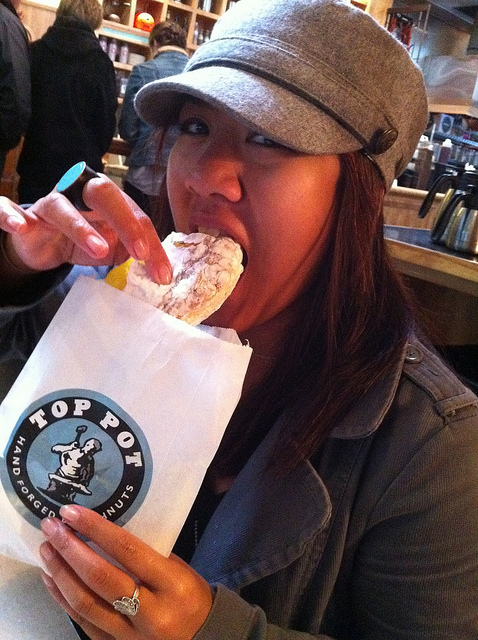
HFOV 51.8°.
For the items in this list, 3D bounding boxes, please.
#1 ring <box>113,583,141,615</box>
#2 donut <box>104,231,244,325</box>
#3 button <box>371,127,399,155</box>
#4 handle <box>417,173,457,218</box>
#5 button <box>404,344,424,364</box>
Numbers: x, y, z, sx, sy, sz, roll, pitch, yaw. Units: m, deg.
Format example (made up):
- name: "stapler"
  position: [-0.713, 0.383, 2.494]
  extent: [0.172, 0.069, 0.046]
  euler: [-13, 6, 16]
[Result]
- name: "ring"
  position: [-0.118, 0.291, 0.518]
  extent: [0.014, 0.026, 0.021]
  euler: [17, -2, 13]
- name: "donut"
  position: [-0.108, -0.099, 0.770]
  extent: [0.226, 0.056, 0.207]
  euler: [5, 9, -19]
- name: "button"
  position: [0.220, -0.270, 0.742]
  extent: [0.009, 0.039, 0.041]
  euler: [54, 18, 19]
- name: "handle"
  position: [0.736, -0.459, 1.812]
  extent: [0.137, 0.197, 0.029]
  euler: [-34, 72, -25]
- name: "button"
  position: [0.294, 0.058, 0.829]
  extent: [0.033, 0.008, 0.033]
  euler: [-16, 43, 1]
